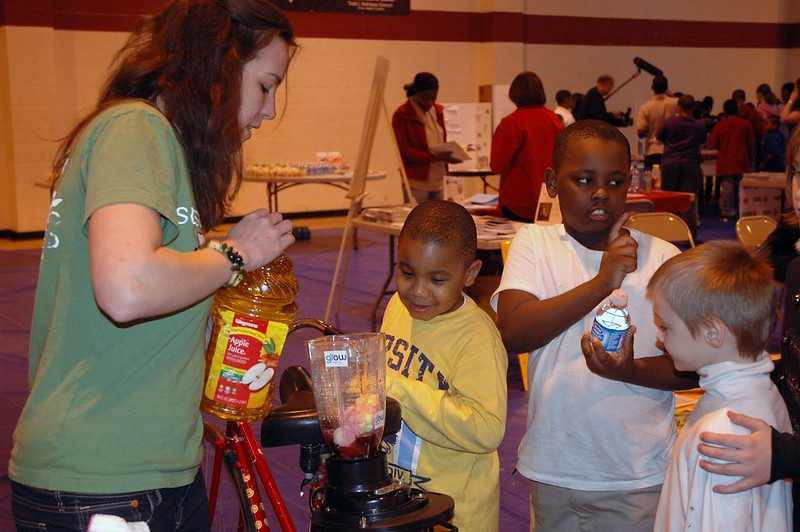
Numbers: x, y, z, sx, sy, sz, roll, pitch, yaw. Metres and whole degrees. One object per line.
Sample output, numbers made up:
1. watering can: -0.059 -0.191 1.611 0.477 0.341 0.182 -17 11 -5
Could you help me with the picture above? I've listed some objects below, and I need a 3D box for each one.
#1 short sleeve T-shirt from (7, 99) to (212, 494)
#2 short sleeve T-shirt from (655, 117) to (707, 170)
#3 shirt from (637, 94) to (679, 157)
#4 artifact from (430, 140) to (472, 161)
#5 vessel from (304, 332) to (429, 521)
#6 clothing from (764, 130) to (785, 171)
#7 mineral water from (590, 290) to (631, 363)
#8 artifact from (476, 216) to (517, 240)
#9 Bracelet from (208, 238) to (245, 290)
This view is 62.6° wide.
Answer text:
1. short sleeve T-shirt: -0.722 0.082 1.566 0.446 0.936 0.257 0 4 6
2. short sleeve T-shirt: 4.438 -1.944 10.367 0.818 0.883 0.511 8 21 24
3. shirt: 4.445 -2.373 11.470 0.860 1.057 0.605 -8 14 -19
4. artifact: 0.613 -1.321 7.279 0.286 0.080 0.277 1 -21 38
5. vessel: -0.105 0.376 1.696 0.375 0.419 0.371 -8 -2 40
6. clothing: 6.654 -2.060 11.706 0.411 0.739 0.660 8 30 33
7. mineral water: 0.631 0.178 1.977 0.110 0.158 0.060 1 4 18
8. artifact: 0.760 -0.298 5.255 0.259 0.063 0.262 -7 17 -33
9. Bracelet: -0.401 -0.009 1.603 0.035 0.106 0.094 -30 8 -1
